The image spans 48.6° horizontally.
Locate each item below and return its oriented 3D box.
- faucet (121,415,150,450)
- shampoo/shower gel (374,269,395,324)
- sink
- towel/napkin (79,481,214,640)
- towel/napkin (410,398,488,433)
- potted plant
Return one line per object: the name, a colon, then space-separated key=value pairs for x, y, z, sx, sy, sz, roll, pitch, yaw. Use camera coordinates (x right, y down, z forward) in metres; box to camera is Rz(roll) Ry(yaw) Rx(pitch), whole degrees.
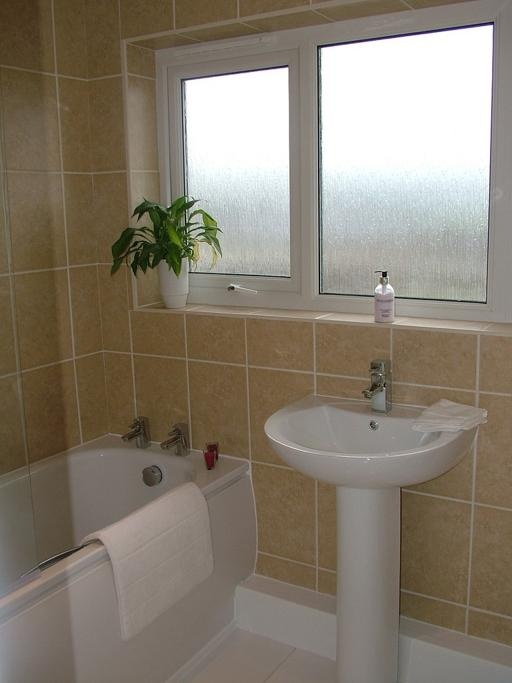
faucet: x=-0.460 y=0.360 z=2.250 sx=0.066 sy=0.146 sz=0.153 roll=1 pitch=4 yaw=28
shampoo/shower gel: x=0.398 y=-0.142 z=1.778 sx=0.055 sy=0.156 sz=0.077 roll=0 pitch=11 yaw=9
sink: x=0.297 y=0.279 z=1.561 sx=0.556 sy=0.161 sz=0.519 roll=3 pitch=12 yaw=22
towel/napkin: x=-0.299 y=0.657 z=1.674 sx=0.195 sy=0.403 sz=0.531 roll=-1 pitch=5 yaw=28
towel/napkin: x=0.523 y=0.202 z=1.532 sx=0.154 sy=0.022 sz=0.243 roll=7 pitch=14 yaw=36
potted plant: x=-0.338 y=-0.343 z=2.214 sx=0.434 sy=0.433 sz=0.385 roll=-5 pitch=12 yaw=-15
